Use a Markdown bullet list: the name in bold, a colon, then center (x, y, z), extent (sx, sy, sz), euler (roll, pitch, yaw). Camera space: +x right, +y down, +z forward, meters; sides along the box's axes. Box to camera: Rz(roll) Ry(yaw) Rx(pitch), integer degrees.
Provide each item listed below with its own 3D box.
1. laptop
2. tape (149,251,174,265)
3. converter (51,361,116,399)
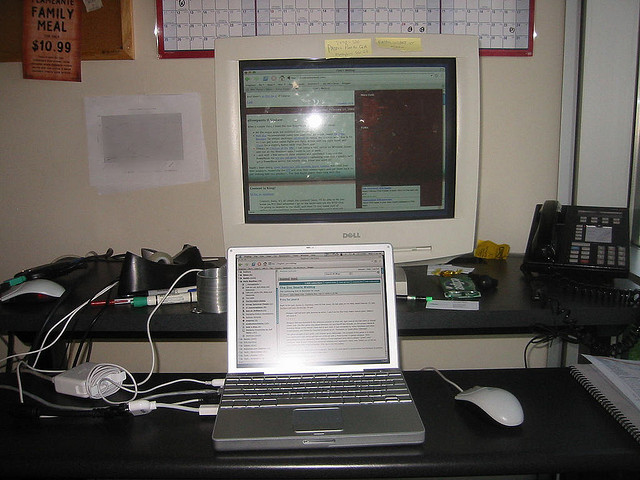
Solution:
- **laptop**: center (-0.009, 0.206, 1.282), extent (0.430, 0.337, 0.413), euler (-2, 9, -8)
- **tape**: center (-0.443, 0.052, 1.603), extent (0.039, 0.042, 0.009), euler (-2, -21, -10)
- **converter**: center (-0.585, 0.348, 1.443), extent (0.137, 0.042, 0.106), euler (1, 15, 21)
